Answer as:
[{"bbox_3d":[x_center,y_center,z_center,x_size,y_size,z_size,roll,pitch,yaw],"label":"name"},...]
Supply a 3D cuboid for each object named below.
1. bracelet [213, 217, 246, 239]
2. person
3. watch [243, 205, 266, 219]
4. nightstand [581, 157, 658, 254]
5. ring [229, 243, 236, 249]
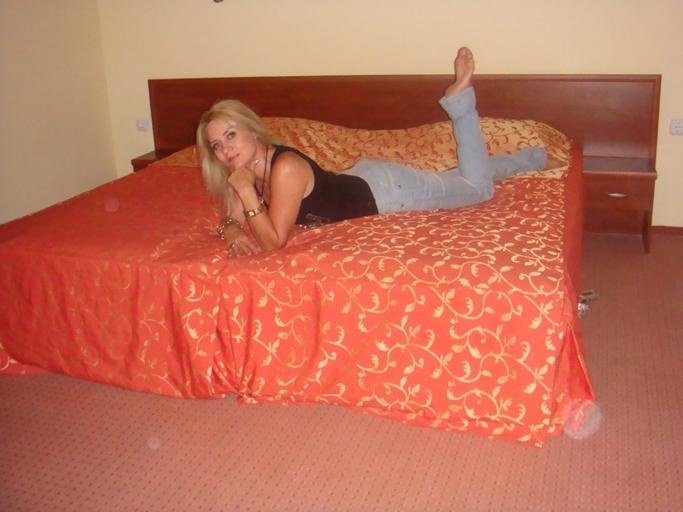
[{"bbox_3d":[-0.547,-0.137,2.455,0.097,0.049,0.108,-23,18,-16],"label":"bracelet"},{"bbox_3d":[0.255,-0.613,2.587,1.836,0.873,0.552,-13,24,-12],"label":"person"},{"bbox_3d":[-0.371,-0.189,2.217,0.081,0.064,0.047,-9,21,-23],"label":"watch"},{"bbox_3d":[1.901,-0.352,3.490,0.522,0.554,0.387,2,19,15],"label":"nightstand"},{"bbox_3d":[-0.491,-0.044,2.298,0.019,0.012,0.027,2,10,2],"label":"ring"}]
